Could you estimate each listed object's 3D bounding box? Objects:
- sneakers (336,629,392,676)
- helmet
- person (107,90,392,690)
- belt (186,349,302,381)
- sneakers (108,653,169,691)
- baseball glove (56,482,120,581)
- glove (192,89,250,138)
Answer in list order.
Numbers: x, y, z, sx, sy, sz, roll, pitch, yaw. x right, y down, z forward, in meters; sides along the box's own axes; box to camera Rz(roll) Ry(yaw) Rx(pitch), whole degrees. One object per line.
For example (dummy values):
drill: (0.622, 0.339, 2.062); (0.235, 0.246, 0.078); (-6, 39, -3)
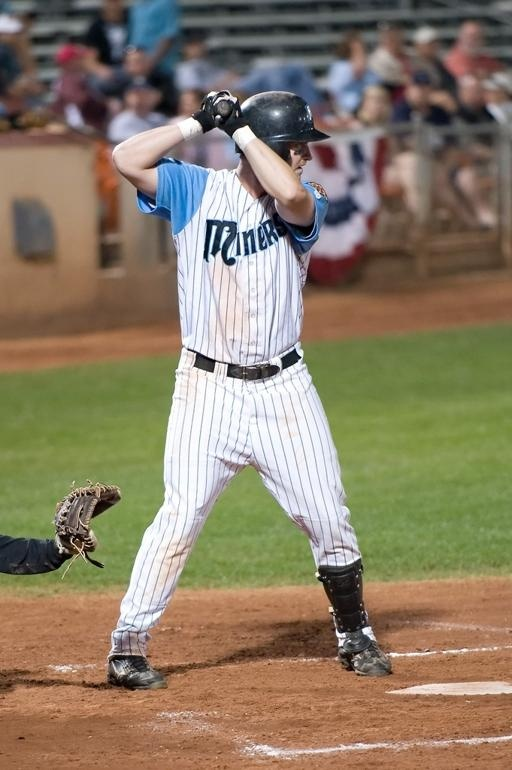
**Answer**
sneakers: (0.307, 0.805, 2.988); (0.098, 0.095, 0.212); (-9, -1, -17)
helmet: (0.069, -0.721, 2.717); (0.237, 0.101, 0.164); (5, 20, 19)
person: (-0.022, 0.059, 2.716); (0.829, 1.702, 0.349); (-2, 9, -9)
belt: (-0.028, -0.055, 2.738); (0.296, 0.086, 0.104); (-1, 7, -2)
sneakers: (-0.361, 0.839, 2.896); (0.214, 0.081, 0.075); (-2, -1, 31)
baseball glove: (-0.553, 0.431, 2.940); (0.129, 0.245, 0.202); (7, -3, 18)
glove: (-0.094, -0.724, 2.684); (0.146, 0.125, 0.065); (14, 4, 12)
